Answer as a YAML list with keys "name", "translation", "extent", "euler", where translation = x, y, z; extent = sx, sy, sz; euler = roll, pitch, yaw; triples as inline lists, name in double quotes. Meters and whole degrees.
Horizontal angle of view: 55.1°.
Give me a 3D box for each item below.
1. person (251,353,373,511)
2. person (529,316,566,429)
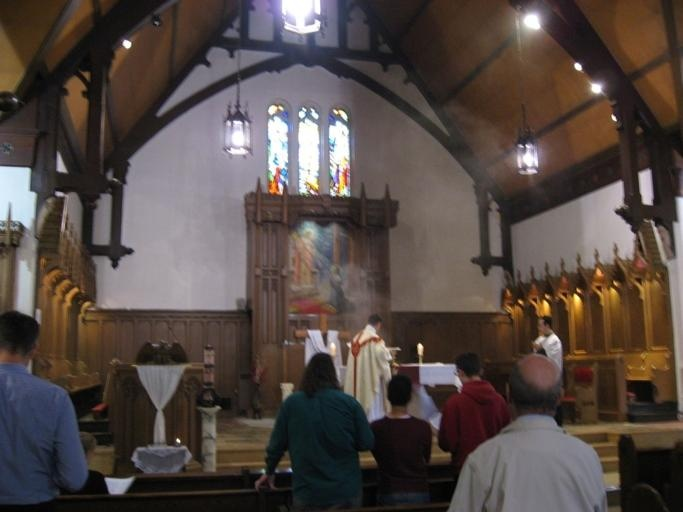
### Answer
- name: "person"
  translation: [-0.177, 1.421, 5.351]
  extent: [0.875, 1.233, 0.361]
  euler: [0, -9, -4]
- name: "person"
  translation: [3.122, 1.868, 9.837]
  extent: [0.429, 1.971, 0.568]
  euler: [-6, 4, -19]
